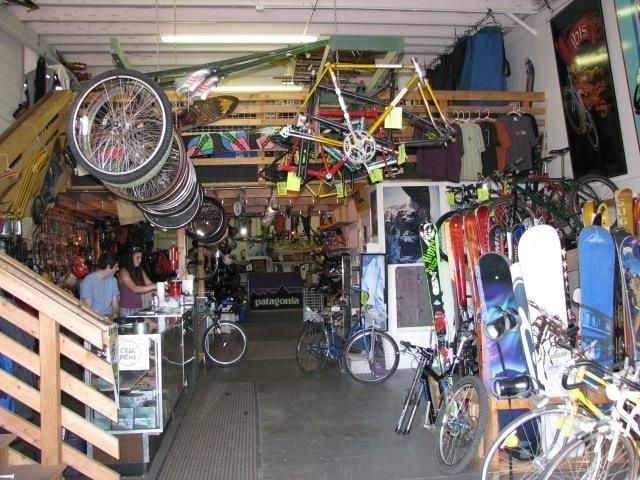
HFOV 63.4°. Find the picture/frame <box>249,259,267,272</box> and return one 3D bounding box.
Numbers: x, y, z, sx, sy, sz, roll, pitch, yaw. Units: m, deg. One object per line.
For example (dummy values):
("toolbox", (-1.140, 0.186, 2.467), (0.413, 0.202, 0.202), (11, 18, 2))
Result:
("picture/frame", (-2.024, 0.793, 17.016), (0.390, 0.426, 0.100), (-2, -8, 2))

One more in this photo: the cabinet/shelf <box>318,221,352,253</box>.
("cabinet/shelf", (0.294, -0.074, 11.738), (0.467, 0.789, 3.418), (0, 5, -2))

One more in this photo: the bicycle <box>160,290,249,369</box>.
("bicycle", (-1.817, 1.551, 8.682), (1.219, 0.879, 0.653), (2, -1, 1))

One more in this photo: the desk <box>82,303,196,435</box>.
("desk", (-1.788, 1.293, 5.130), (0.396, 0.633, 1.484), (1, 1, 0))

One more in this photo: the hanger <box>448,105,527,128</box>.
("hanger", (2.748, -2.102, 8.532), (1.382, 0.344, 0.496), (-2, 4, -16))

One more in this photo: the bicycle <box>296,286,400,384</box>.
("bicycle", (0.424, 1.411, 7.867), (1.565, 1.349, 0.874), (1, 4, 17))

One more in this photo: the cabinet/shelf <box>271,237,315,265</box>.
("cabinet/shelf", (-0.924, 0.347, 17.038), (1.432, 0.904, 0.817), (0, 4, -1))

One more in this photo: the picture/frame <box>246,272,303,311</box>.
("picture/frame", (-1.259, 1.414, 14.683), (1.549, 1.018, 0.317), (-1, 4, -8))
